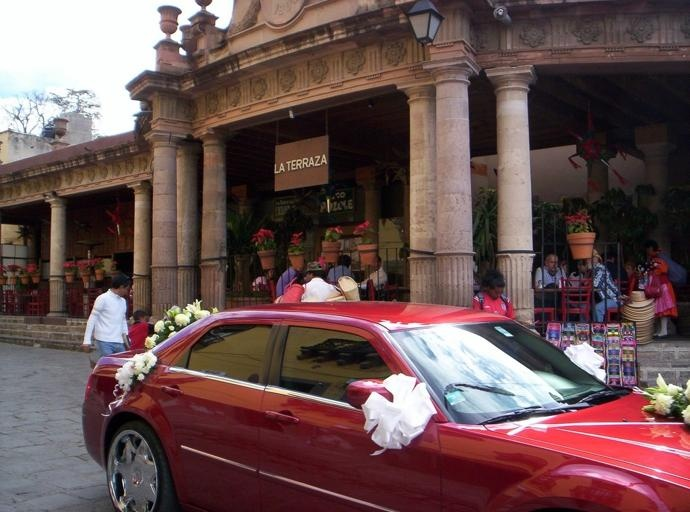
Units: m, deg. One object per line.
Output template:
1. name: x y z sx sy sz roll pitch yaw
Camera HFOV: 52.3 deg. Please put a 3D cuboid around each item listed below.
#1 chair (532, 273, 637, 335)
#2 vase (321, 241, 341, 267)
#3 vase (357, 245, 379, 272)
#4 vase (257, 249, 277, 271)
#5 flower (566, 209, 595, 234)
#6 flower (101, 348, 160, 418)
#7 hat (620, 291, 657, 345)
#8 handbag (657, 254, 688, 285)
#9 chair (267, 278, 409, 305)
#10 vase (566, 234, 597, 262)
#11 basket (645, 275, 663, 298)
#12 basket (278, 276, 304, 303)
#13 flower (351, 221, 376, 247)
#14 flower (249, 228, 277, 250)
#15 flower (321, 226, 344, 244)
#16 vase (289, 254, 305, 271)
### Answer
1. chair: 3.935 0.759 12.239 1.600 1.178 0.969 0 4 19
2. vase: -0.299 -0.046 15.129 0.422 0.503 0.444 0 -3 10
3. vase: 0.422 0.013 14.533 0.467 0.555 0.487 -2 -1 24
4. vase: -1.843 0.067 16.665 0.422 0.382 0.443 -7 2 8
5. flower: 4.077 -0.575 12.435 0.499 0.407 0.509 -3 2 -30
6. flower: -2.015 1.085 6.629 0.452 0.220 0.293 -20 8 -6
7. hat: 5.064 0.967 12.165 0.660 1.021 0.479 -4 -46 17
8. handbag: 6.218 0.263 13.399 0.236 0.485 0.660 -14 -48 38
9. chair: -0.057 0.547 11.113 1.095 0.428 0.697 -2 -2 -20
10. vase: 4.120 -0.148 12.254 0.434 0.399 0.454 -3 -7 19
11. basket: 5.238 0.506 11.979 0.172 0.367 0.266 -2 20 0
12. basket: -0.721 0.471 9.591 0.287 0.510 0.488 14 -7 -3
13. flower: 0.449 -0.549 17.592 0.528 0.906 0.651 -7 -7 23
14. flower: -1.992 -0.402 16.775 0.482 0.685 0.591 -1 3 1
15. flower: -0.352 -0.478 15.009 0.479 0.241 0.508 -8 10 -35
16. vase: -1.096 0.143 15.398 0.307 0.268 0.323 -2 -2 0
